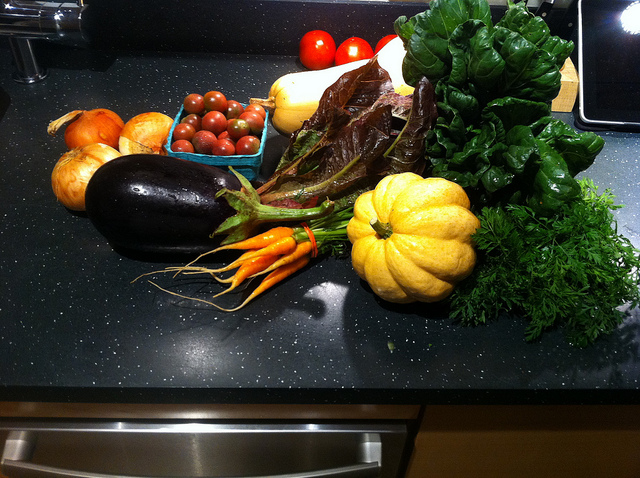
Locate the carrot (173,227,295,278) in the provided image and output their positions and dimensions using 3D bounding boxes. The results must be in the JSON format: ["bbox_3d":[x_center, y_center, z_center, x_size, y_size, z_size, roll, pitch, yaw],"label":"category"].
[{"bbox_3d":[-0.145,0.035,0.989,0.250,0.054,0.068,-19,90,-28],"label":"carrot"}]
